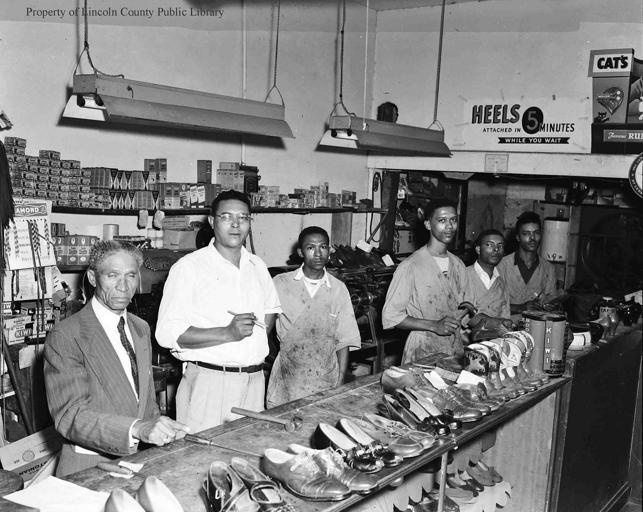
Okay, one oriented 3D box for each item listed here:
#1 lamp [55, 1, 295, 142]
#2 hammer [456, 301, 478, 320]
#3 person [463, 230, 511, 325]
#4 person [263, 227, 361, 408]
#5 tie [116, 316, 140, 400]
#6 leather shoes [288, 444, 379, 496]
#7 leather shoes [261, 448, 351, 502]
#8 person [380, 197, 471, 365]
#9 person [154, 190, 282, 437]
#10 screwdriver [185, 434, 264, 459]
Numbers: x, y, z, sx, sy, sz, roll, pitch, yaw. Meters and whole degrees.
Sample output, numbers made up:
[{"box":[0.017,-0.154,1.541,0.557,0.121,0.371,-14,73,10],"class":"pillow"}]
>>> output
[{"box":[-0.934,-1.049,3.822,0.716,0.494,1.417,5,7,43],"class":"lamp"},{"box":[1.011,0.374,4.180,0.093,0.164,0.051,25,41,27],"class":"hammer"},{"box":[1.298,0.152,4.733,0.360,0.775,0.332,10,9,42],"class":"person"},{"box":[-0.099,0.447,4.196,0.557,1.300,0.553,2,10,-23],"class":"person"},{"box":[-0.853,0.429,2.653,0.060,0.438,0.041,-6,-7,-31],"class":"tie"},{"box":[0.054,0.728,2.247,0.349,0.134,0.266,1,5,-38],"class":"leather shoes"},{"box":[0.006,0.745,2.246,0.390,0.137,0.289,3,2,41],"class":"leather shoes"},{"box":[0.806,0.233,4.214,0.551,1.290,0.467,-5,7,-40],"class":"person"},{"box":[-0.554,0.345,3.311,0.567,1.675,0.459,0,5,-28],"class":"person"},{"box":[-0.392,0.760,2.416,0.341,0.047,0.057,2,6,23],"class":"screwdriver"}]
